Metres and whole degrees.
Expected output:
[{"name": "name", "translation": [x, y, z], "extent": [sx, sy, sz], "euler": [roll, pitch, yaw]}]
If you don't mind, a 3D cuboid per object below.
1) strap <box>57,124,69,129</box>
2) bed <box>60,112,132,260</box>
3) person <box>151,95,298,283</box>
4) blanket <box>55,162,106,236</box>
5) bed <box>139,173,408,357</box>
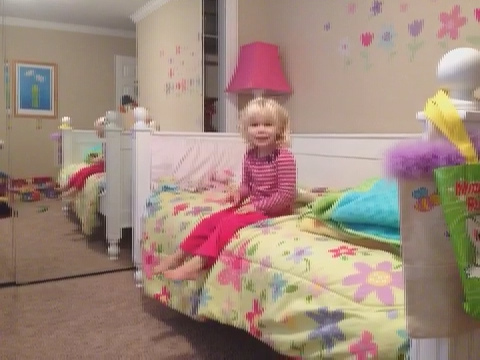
[{"name": "strap", "translation": [-1.118, -0.340, 2.966], "extent": [0.069, 0.029, 0.011], "euler": [-8, 10, -39]}, {"name": "bed", "translation": [-1.068, -0.016, 3.259], "extent": [0.446, 0.618, 0.736], "euler": [-2, 4, -26]}, {"name": "person", "translation": [-0.014, -0.015, 2.066], "extent": [0.636, 0.888, 0.337], "euler": [9, -10, -42]}, {"name": "blanket", "translation": [-0.995, 0.113, 3.196], "extent": [0.356, 0.607, 0.380], "euler": [0, 0, -18]}, {"name": "bed", "translation": [0.098, 0.419, 1.848], "extent": [0.521, 0.308, 0.880], "euler": [-10, 29, -37]}]
